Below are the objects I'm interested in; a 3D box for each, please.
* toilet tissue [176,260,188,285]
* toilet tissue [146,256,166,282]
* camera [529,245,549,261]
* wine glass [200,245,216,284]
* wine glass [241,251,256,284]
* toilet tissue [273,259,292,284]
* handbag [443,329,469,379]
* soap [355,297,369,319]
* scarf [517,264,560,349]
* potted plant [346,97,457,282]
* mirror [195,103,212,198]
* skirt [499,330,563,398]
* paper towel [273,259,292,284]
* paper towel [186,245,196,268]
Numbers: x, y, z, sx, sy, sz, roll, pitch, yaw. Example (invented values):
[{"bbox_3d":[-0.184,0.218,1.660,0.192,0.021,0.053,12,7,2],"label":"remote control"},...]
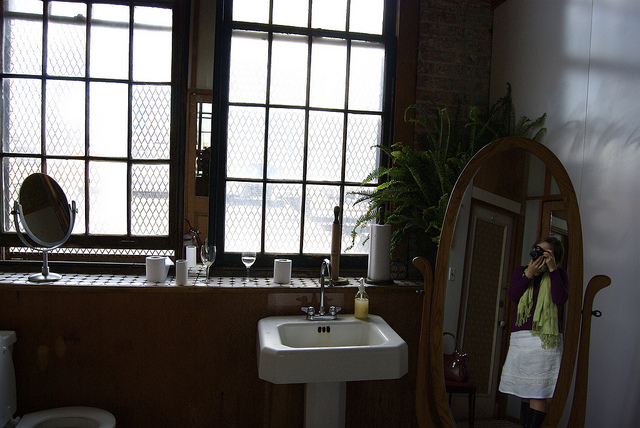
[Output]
[{"bbox_3d":[-0.837,0.345,3.140,0.068,0.144,0.050,1,0,-18],"label":"toilet tissue"},{"bbox_3d":[-0.999,0.333,3.154,0.103,0.138,0.135,-1,-2,33],"label":"toilet tissue"},{"bbox_3d":[1.170,0.209,2.782,0.085,0.058,0.061,13,0,42],"label":"camera"},{"bbox_3d":[-0.710,0.302,3.293,0.090,0.231,0.267,1,0,-12],"label":"wine glass"},{"bbox_3d":[-0.459,0.330,3.335,0.087,0.192,0.265,1,0,-7],"label":"wine glass"},{"bbox_3d":[-0.237,0.349,3.236,0.117,0.150,0.126,2,1,-5],"label":"toilet tissue"},{"bbox_3d":[0.779,0.789,2.901,0.082,0.235,0.222,-1,-11,1],"label":"handbag"},{"bbox_3d":[0.248,0.563,3.170,0.088,0.114,0.094,1,-2,-10],"label":"soap"},{"bbox_3d":[1.178,0.488,2.782,0.229,0.448,0.017,1,0,-1],"label":"scarf"},{"bbox_3d":[0.555,-0.173,3.294,0.582,1.157,0.727,1,0,-39],"label":"potted plant"},{"bbox_3d":[-0.970,-0.514,4.279,0.113,0.770,0.325,1,0,-14],"label":"mirror"},{"bbox_3d":[1.155,0.813,2.878,0.271,0.362,0.200,-4,-20,41],"label":"skirt"},{"bbox_3d":[-0.236,0.358,3.303,0.118,0.151,0.127,1,1,-5],"label":"paper towel"},{"bbox_3d":[-0.849,0.275,3.377,0.046,0.143,0.093,1,0,17],"label":"paper towel"}]
